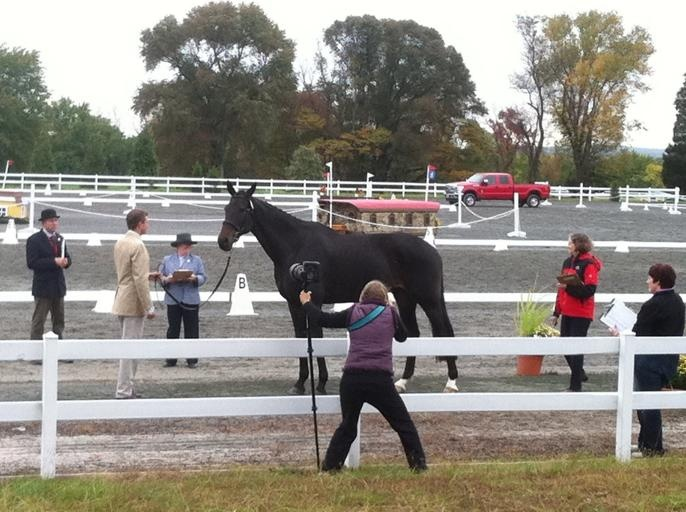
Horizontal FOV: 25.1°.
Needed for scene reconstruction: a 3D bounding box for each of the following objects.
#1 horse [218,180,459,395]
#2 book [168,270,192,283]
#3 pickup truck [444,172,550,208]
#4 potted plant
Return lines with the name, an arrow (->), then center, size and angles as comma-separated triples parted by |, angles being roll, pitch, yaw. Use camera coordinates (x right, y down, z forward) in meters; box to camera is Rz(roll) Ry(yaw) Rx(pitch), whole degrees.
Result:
horse -> -0.051, 1.303, 62.304 | 10.129, 7.939, 2.586 | 3, -2, -12
book -> -6.525, 0.834, 62.428 | 0.915, 0.522, 0.207 | 0, 1, -8
pickup truck -> 9.053, -3.820, 90.700 | 5.873, 2.005, 3.072 | 0, 2, -3
potted plant -> 7.874, 3.029, 62.989 | 1.349, 3.877, 1.615 | 0, 12, -21
